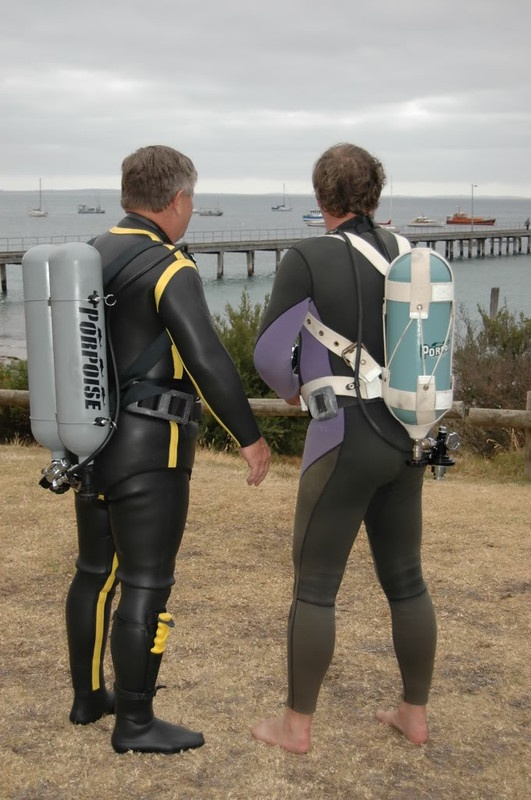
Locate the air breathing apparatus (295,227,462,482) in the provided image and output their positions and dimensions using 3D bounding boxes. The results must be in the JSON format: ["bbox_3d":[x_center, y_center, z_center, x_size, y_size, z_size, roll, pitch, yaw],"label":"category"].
[{"bbox_3d":[0.526,-0.175,3.117,0.549,0.723,0.561,6,6,-20],"label":"air breathing apparatus"}]

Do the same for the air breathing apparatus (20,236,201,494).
[{"bbox_3d":[-0.621,-0.123,3.138,0.513,0.812,0.588,0,2,38],"label":"air breathing apparatus"}]
